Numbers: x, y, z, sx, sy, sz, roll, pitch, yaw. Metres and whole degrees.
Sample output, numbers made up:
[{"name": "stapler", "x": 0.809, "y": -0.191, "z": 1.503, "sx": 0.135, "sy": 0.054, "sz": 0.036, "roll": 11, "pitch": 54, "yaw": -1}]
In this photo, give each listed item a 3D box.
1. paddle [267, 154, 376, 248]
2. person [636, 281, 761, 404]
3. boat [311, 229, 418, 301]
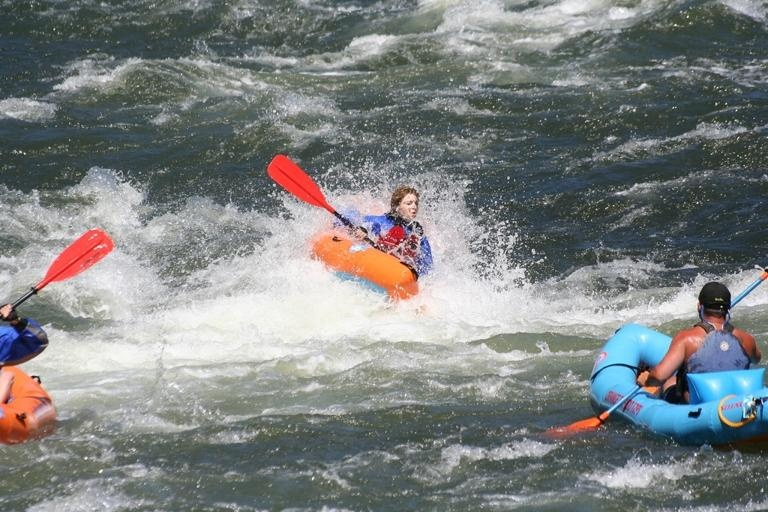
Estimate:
[{"name": "paddle", "x": -0.839, "y": -0.729, "z": 18.031, "sx": 2.018, "sy": 0.100, "sz": 0.282, "roll": 36, "pitch": 5, "yaw": 28}, {"name": "person", "x": 3.879, "y": 1.121, "z": 14.586, "sx": 1.571, "sy": 1.606, "sz": 0.850, "roll": -1, "pitch": 40, "yaw": -7}, {"name": "boat", "x": -0.347, "y": 0.079, "z": 17.269, "sx": 1.710, "sy": 0.431, "sz": 0.771, "roll": 23, "pitch": 3, "yaw": 28}]
